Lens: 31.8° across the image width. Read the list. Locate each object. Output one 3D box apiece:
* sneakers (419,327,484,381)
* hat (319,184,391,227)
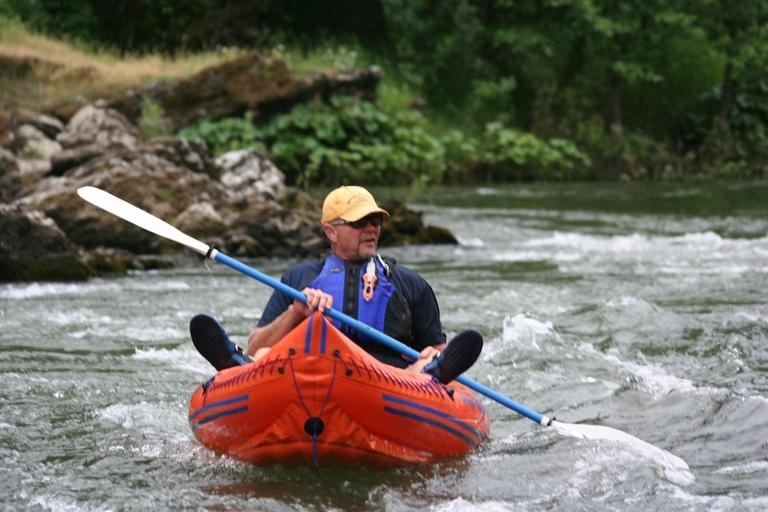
[{"bbox_3d":[0.608,0.877,11.588,0.686,0.233,0.289,-42,5,17],"label":"sneakers"},{"bbox_3d":[-0.280,-0.462,11.912,0.485,0.326,0.673,-10,10,-32],"label":"hat"}]
